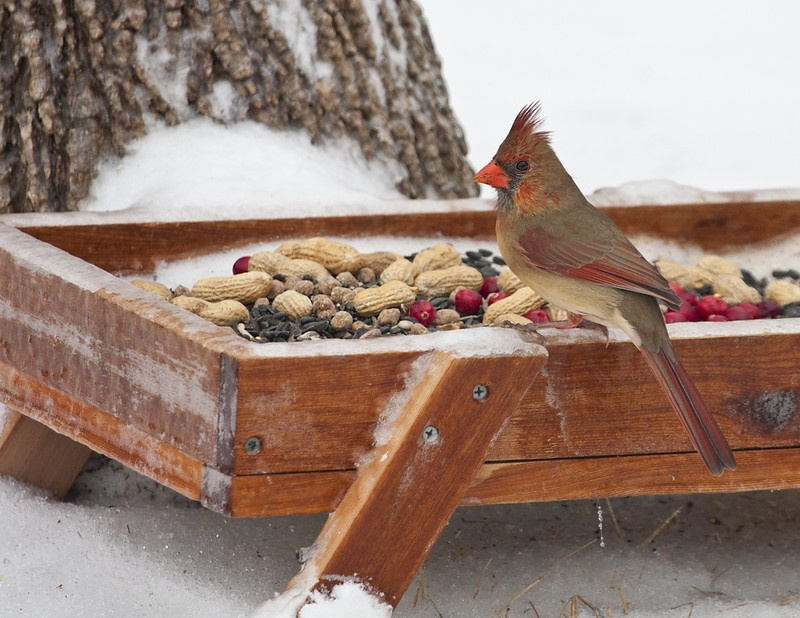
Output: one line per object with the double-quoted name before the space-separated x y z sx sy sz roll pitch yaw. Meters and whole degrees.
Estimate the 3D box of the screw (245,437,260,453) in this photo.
"screw" -0.477 0.441 3.332 0.054 0.047 0.012 -1 11 -18
